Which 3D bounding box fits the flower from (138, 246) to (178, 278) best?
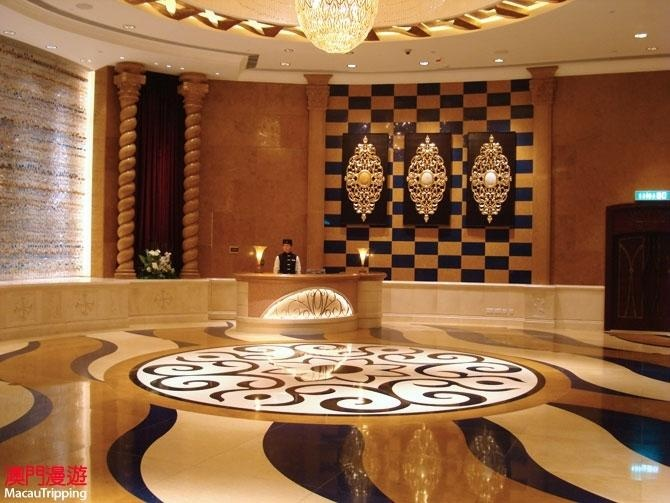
[{"bbox_3d":[-3.731,0.226,10.508,0.617,0.386,0.623,6,-4,-26],"label":"flower"}]
